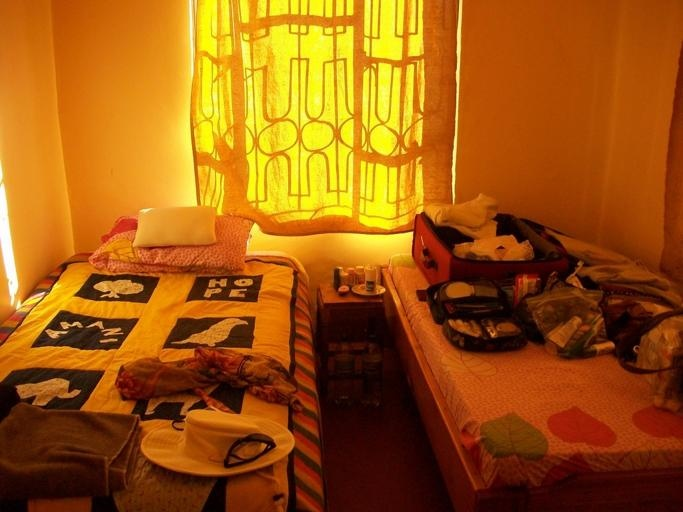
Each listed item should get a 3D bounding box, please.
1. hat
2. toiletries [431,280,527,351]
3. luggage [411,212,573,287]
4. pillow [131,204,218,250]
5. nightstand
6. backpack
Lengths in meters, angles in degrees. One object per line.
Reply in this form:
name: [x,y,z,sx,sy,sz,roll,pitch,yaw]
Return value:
hat: [-0.423,0.573,1.672,0.511,0.152,0.238,0,17,1]
toiletries: [0.600,0.253,2.334,0.263,0.111,0.353,-4,28,-3]
luggage: [0.671,-0.054,2.826,0.893,0.347,0.711,2,13,-5]
pillow: [-0.957,-0.168,2.946,0.426,0.245,0.116,-3,-22,-7]
nightstand: [0.041,0.504,2.953,0.385,0.588,0.416,0,16,-10]
backpack: [0.592,0.278,2.357,0.250,0.113,0.374,-5,24,-3]
